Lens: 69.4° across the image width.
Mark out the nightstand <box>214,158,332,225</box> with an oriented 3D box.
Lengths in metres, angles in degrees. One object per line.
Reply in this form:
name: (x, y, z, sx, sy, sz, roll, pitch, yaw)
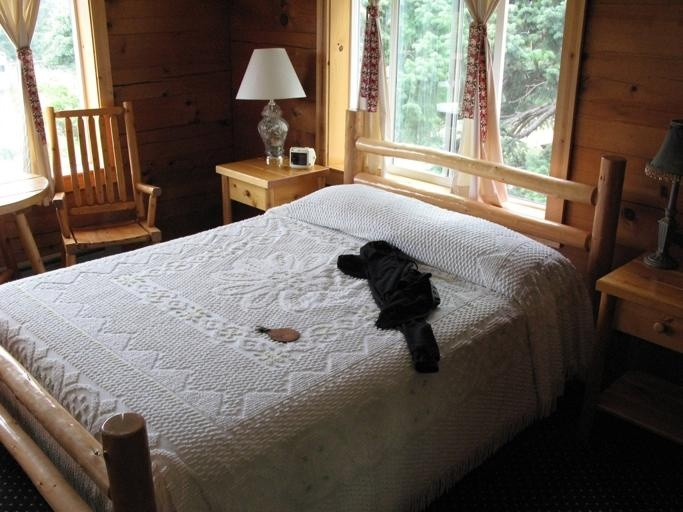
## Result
nightstand: (-0.507, -0.360, 3.611, 0.517, 0.602, 0.651, -19, 32, -39)
